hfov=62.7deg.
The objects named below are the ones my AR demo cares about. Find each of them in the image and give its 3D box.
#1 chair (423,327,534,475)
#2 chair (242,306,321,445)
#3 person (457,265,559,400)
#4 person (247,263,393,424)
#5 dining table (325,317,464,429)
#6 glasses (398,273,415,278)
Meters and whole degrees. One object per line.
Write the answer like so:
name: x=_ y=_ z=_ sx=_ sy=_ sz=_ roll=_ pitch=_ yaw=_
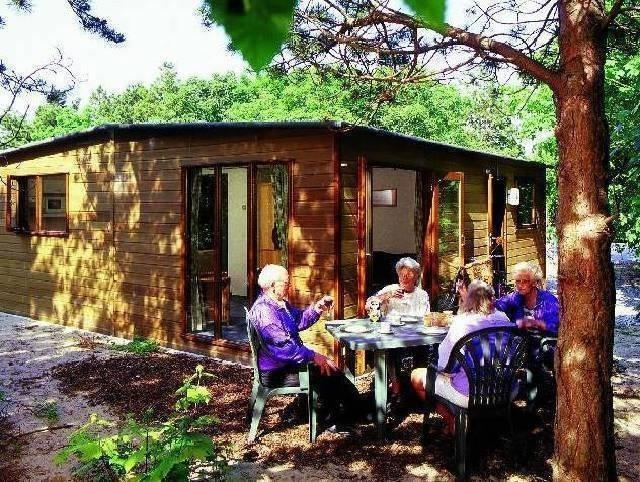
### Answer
chair: x=1.243 y=1.167 z=4.224 sx=0.761 sy=1.422 sz=0.976 roll=0 pitch=-1 yaw=-11
chair: x=-0.365 y=1.189 z=5.197 sx=0.812 sy=1.518 sz=1.016 roll=0 pitch=-2 yaw=-5
person: x=1.638 y=0.823 z=4.577 sx=0.824 sy=1.489 sz=0.614 roll=27 pitch=-36 yaw=-33
person: x=-0.167 y=0.990 z=4.812 sx=0.832 sy=1.573 sz=0.637 roll=-8 pitch=1 yaw=-14
dining table: x=0.638 y=1.157 z=4.903 sx=0.670 sy=0.520 sz=0.901 roll=1 pitch=-17 yaw=-29
glasses: x=0.929 y=0.379 z=5.648 sx=0.163 sy=0.067 sz=0.075 roll=0 pitch=3 yaw=16
